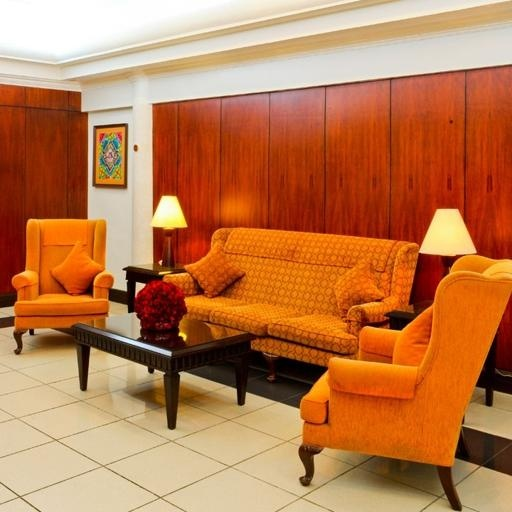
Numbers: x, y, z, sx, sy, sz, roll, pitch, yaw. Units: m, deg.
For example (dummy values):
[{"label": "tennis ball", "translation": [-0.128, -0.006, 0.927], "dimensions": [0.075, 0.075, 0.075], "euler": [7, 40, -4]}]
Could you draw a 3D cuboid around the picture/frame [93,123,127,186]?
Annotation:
[{"label": "picture/frame", "translation": [-2.161, -1.526, 6.654], "dimensions": [0.964, 1.100, 0.046], "euler": [6, 5, 43]}]

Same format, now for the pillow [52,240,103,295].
[{"label": "pillow", "translation": [-1.858, 0.140, 4.629], "dimensions": [0.460, 0.535, 0.264], "euler": [1, 2, 29]}]

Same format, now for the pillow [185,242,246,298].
[{"label": "pillow", "translation": [-0.396, 0.157, 4.554], "dimensions": [0.508, 0.508, 0.156], "euler": [-40, -13, -11]}]

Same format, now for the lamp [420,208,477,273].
[{"label": "lamp", "translation": [1.434, -0.033, 3.328], "dimensions": [0.419, 0.596, 0.400], "euler": [-1, -1, 20]}]

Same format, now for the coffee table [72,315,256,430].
[{"label": "coffee table", "translation": [-0.643, 0.812, 3.335], "dimensions": [0.795, 0.480, 1.204], "euler": [9, -2, 19]}]

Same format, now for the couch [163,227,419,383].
[{"label": "couch", "translation": [0.178, 0.407, 4.199], "dimensions": [2.343, 1.182, 1.085], "euler": [5, 8, 38]}]
